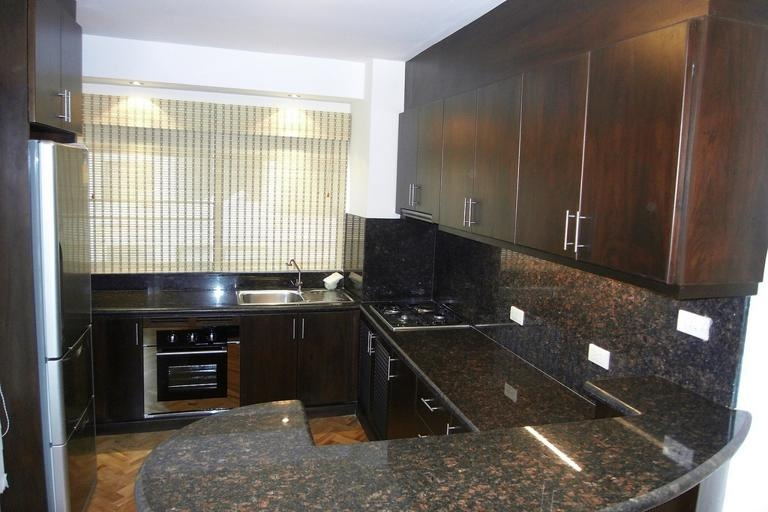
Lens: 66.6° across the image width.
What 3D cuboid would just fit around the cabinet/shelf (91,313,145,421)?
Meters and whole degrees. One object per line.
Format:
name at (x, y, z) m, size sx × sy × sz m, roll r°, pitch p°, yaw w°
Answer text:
cabinet/shelf at (-2.225, 0.893, 4.635) m, size 0.556 × 0.754 × 0.485 m, roll -1°, pitch -14°, yaw -38°

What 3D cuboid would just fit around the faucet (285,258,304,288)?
faucet at (-0.811, 0.165, 5.377) m, size 0.123 × 0.296 × 0.130 m, roll -8°, pitch 7°, yaw -33°

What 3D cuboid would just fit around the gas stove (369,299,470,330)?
gas stove at (0.238, 0.465, 4.712) m, size 0.654 × 0.125 × 0.775 m, roll -5°, pitch 5°, yaw -13°

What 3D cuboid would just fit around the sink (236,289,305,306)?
sink at (-1.033, 0.369, 5.218) m, size 0.313 × 0.114 × 0.199 m, roll -1°, pitch 8°, yaw -14°

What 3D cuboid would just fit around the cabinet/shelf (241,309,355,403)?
cabinet/shelf at (-0.658, 0.895, 5.038) m, size 1.045 × 0.806 × 0.366 m, roll -2°, pitch -7°, yaw 17°

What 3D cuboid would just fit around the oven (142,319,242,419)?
oven at (-1.582, 0.884, 4.884) m, size 0.796 × 0.694 × 0.507 m, roll 0°, pitch 7°, yaw -15°
